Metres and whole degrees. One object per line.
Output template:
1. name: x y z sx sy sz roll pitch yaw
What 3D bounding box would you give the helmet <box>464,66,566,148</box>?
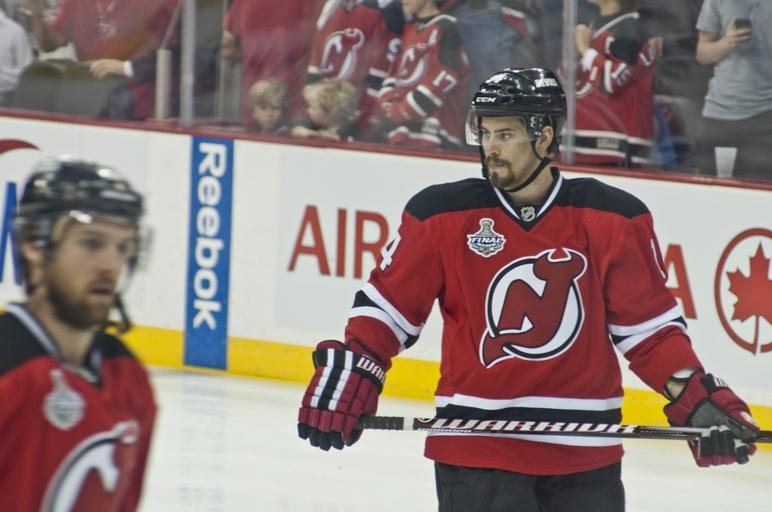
1. helmet: 0.586 -0.651 7.376 0.399 0.366 0.317 4 -4 -20
